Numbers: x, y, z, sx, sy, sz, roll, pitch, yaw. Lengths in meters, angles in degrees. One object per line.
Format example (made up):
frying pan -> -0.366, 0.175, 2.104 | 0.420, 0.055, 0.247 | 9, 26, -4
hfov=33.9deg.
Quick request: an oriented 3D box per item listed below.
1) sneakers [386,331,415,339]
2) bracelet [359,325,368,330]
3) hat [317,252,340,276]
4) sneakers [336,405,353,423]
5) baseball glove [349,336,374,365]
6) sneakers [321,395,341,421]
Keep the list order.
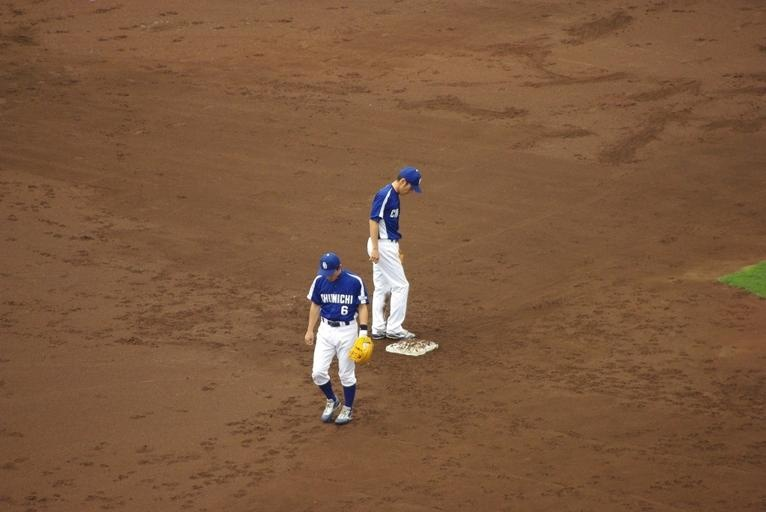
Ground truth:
sneakers -> 0.319, 1.673, 26.523 | 0.630, 0.190, 0.221 | 0, 103, -4
bracelet -> -0.423, 1.399, 24.504 | 0.125, 0.107, 0.067 | 1, 89, 2
hat -> -1.081, 0.163, 24.458 | 0.409, 0.273, 0.451 | 11, 55, 12
sneakers -> -0.784, 3.172, 24.855 | 0.259, 0.224, 0.386 | 17, 50, 13
baseball glove -> -0.429, 1.864, 24.577 | 0.583, 0.419, 0.500 | -11, 62, 15
sneakers -> -1.070, 3.015, 24.950 | 0.250, 0.251, 0.563 | 11, 56, 24
